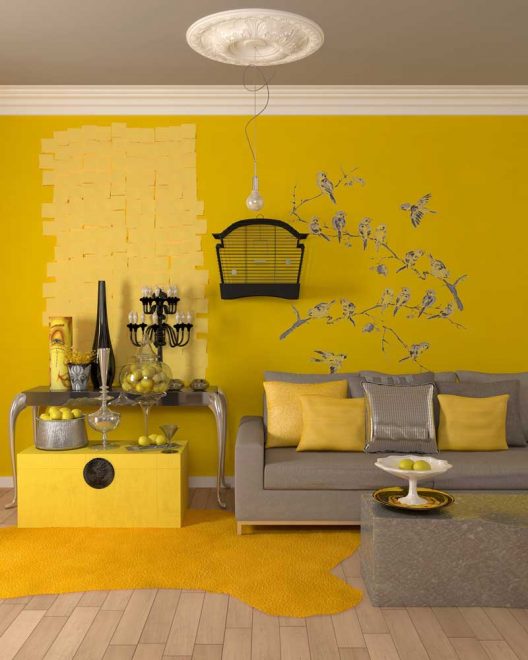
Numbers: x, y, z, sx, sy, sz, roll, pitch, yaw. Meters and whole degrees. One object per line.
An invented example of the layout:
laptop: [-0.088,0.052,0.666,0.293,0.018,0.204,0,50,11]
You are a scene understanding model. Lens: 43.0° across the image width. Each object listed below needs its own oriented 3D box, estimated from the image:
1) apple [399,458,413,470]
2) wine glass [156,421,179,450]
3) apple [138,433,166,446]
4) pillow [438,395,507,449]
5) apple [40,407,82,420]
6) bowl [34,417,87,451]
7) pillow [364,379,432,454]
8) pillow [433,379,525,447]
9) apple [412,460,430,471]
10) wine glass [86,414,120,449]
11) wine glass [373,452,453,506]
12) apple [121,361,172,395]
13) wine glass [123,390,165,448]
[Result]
apple: [0.618,0.595,2.949,0.052,0.047,0.044,-4,-5,-4]
wine glass: [-0.574,0.650,3.980,0.144,0.126,0.132,0,-6,-1]
apple: [-0.665,0.645,3.914,0.103,0.036,0.088,-3,-2,13]
pillow: [1.205,0.528,3.810,0.416,0.293,0.154,-3,-9,25]
apple: [-1.190,0.491,3.888,0.131,0.039,0.118,0,1,9]
bowl: [-1.176,0.599,3.890,0.235,0.108,0.210,0,-6,2]
pillow: [0.798,0.482,3.800,0.515,0.411,0.143,-5,-23,44]
pillow: [1.341,0.499,3.990,0.476,0.385,0.168,-1,-18,-2]
apple: [0.681,0.593,2.920,0.049,0.026,0.052,-1,0,-2]
wine glass: [-0.933,0.591,3.937,0.253,0.218,0.216,1,-4,-2]
wine glass: [0.671,0.663,3.046,0.281,0.125,0.247,0,-4,-2]
apple: [-0.685,0.288,3.938,0.249,0.142,0.223,0,-6,11]
wine glass: [-0.716,0.548,3.993,0.273,0.274,0.240,-2,-1,-1]
